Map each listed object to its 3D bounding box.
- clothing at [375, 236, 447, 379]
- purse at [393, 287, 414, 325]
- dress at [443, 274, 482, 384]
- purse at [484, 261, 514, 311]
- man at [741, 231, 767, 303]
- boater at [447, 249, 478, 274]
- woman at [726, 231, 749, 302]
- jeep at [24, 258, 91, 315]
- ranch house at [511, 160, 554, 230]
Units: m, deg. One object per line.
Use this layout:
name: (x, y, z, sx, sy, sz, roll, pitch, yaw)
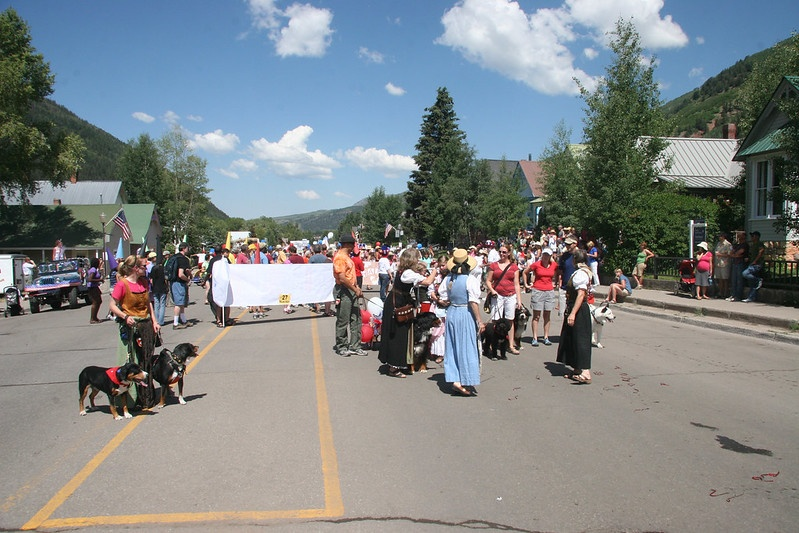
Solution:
clothing: (0.074, 0.965, 11.841, 1.042, 2.730, 0.715, -1, 11, -5)
purse: (0.087, 0.857, 11.763, 0.413, 0.663, 0.239, 0, 11, -1)
dress: (1.203, 1.253, 10.746, 0.656, 2.174, 0.762, 1, 11, 5)
purse: (2.349, 0.540, 13.937, 0.592, 1.128, 0.276, -5, 14, -33)
man: (11.749, 0.120, 18.525, 0.612, 1.987, 0.951, 11, 16, 44)
boater: (1.191, -0.105, 10.776, 0.421, 0.194, 0.489, -14, 40, 10)
woman: (11.484, -0.011, 18.877, 0.503, 2.392, 0.641, 5, 0, 5)
jeep: (-15.209, 0.724, 25.211, 1.887, 2.245, 3.741, -5, 3, -16)
ranch house: (16.404, -8.979, 71.145, 3.564, 9.109, 38.303, 2, 12, 12)
